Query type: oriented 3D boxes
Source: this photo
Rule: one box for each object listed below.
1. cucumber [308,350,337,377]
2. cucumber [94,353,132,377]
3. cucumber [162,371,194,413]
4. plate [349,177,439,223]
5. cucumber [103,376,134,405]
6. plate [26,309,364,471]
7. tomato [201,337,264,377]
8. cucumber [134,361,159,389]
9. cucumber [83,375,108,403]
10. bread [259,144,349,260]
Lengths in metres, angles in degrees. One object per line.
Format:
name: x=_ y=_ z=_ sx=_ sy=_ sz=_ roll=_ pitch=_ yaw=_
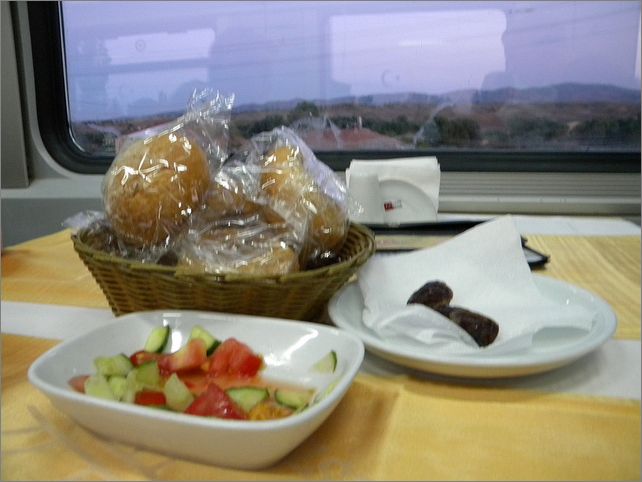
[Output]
cucumber: x=0.000 y=0.115 z=0.474 sx=0.020 sy=0.005 sz=0.019 roll=-51 pitch=20 yaw=-22
cucumber: x=-0.193 y=0.116 z=0.473 sx=0.020 sy=0.007 sz=0.021 roll=3 pitch=27 yaw=-33
cucumber: x=-0.121 y=0.129 z=0.444 sx=0.019 sy=0.011 sz=0.028 roll=-6 pitch=47 yaw=-26
plate: x=0.131 y=-0.068 z=0.966 sx=0.110 sy=0.032 sz=0.133 roll=0 pitch=58 yaw=-8
cucumber: x=-0.173 y=0.129 z=0.453 sx=0.016 sy=0.007 sz=0.023 roll=-5 pitch=32 yaw=-33
plate: x=-0.110 y=0.121 z=0.453 sx=0.187 sy=0.050 sz=0.147 roll=5 pitch=9 yaw=15
tomato: x=-0.098 y=0.121 z=0.517 sx=0.060 sy=0.029 sz=0.075 roll=10 pitch=-16 yaw=-16
cucumber: x=-0.159 y=0.120 z=0.458 sx=0.017 sy=0.021 sz=0.008 roll=3 pitch=-15 yaw=0
cucumber: x=-0.197 y=0.129 z=0.448 sx=0.019 sy=0.006 sz=0.018 roll=7 pitch=27 yaw=-48
bread: x=-0.029 y=-0.050 z=0.593 sx=0.068 sy=0.134 sz=0.048 roll=-20 pitch=-14 yaw=-35
